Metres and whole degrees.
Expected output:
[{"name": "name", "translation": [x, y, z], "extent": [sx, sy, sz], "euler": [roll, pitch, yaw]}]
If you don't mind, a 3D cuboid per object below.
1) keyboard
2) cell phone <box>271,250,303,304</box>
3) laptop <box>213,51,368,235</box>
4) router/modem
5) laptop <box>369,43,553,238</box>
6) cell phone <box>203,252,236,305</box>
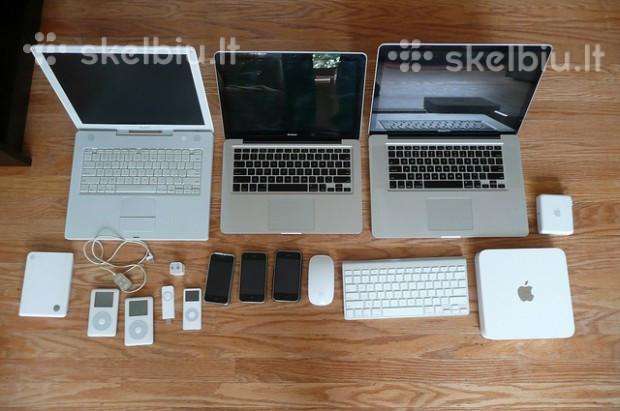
[{"name": "keyboard", "translation": [0.410, 0.360, 2.109], "extent": [0.530, 0.150, 0.241], "euler": [-1, 59, -3]}, {"name": "cell phone", "translation": [-0.098, 0.307, 2.110], "extent": [0.117, 0.096, 0.211], "euler": [3, 58, 0]}, {"name": "laptop", "translation": [-0.078, -0.259, 2.079], "extent": [0.627, 0.532, 0.675], "euler": [0, 60, -1]}, {"name": "router/modem", "translation": [0.913, 0.372, 2.073], "extent": [0.509, 0.095, 0.338], "euler": [-1, 83, -2]}, {"name": "laptop", "translation": [0.624, -0.269, 2.104], "extent": [0.728, 0.539, 0.752], "euler": [3, 60, 1]}, {"name": "cell phone", "translation": [-0.401, 0.319, 2.114], "extent": [0.028, 0.154, 0.218], "euler": [-9, 68, 35]}]
